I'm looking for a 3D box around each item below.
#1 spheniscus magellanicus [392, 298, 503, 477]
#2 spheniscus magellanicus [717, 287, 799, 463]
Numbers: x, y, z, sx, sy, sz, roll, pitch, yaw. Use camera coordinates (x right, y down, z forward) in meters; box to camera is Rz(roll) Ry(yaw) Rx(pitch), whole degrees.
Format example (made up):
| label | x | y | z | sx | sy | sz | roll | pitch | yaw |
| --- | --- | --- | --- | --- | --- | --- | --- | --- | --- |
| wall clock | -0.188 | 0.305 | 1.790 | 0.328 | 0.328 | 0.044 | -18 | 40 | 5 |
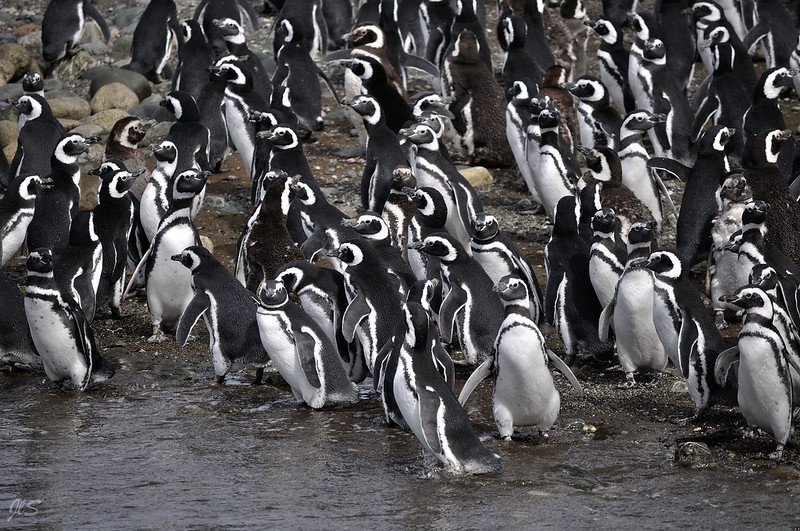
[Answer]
| label | x | y | z | sx | sy | sz | roll | pitch | yaw |
| --- | --- | --- | --- | --- | --- | --- | --- | --- | --- |
| spheniscus magellanicus | 0.398 | 1.054 | 10.419 | 0.543 | 1.292 | 0.717 | -25 | -28 | -27 |
| spheniscus magellanicus | 2.924 | 0.857 | 10.185 | 0.621 | 1.388 | 0.427 | 1 | 2 | 28 |
